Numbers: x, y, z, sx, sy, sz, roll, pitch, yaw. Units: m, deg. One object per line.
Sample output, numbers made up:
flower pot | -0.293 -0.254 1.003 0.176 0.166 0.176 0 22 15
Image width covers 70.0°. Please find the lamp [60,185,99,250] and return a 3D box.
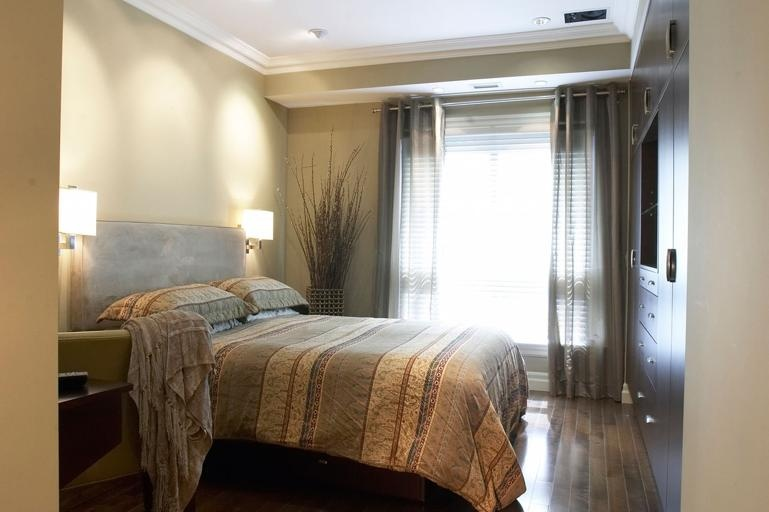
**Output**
lamp | -1.904 -0.230 3.413 0.194 0.394 0.338 0 3 -30

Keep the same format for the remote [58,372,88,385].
remote | -1.292 0.506 2.275 0.099 0.051 0.040 -1 4 -44

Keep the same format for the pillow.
pillow | -1.260 0.338 4.057 0.547 0.288 1.497 4 3 34

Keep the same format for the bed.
bed | -0.529 0.661 3.361 1.528 0.995 1.573 1 -4 17
